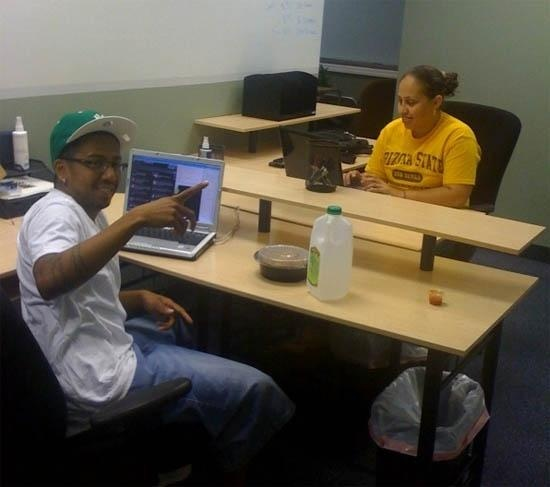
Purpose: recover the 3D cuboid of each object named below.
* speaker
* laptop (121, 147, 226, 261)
[{"bbox_3d":[0.018,-1.127,3.439,0.396,0.404,0.574,16,25,35],"label":"speaker"},{"bbox_3d":[-0.433,-0.215,1.897,0.475,0.380,0.421,9,31,6],"label":"laptop"}]
